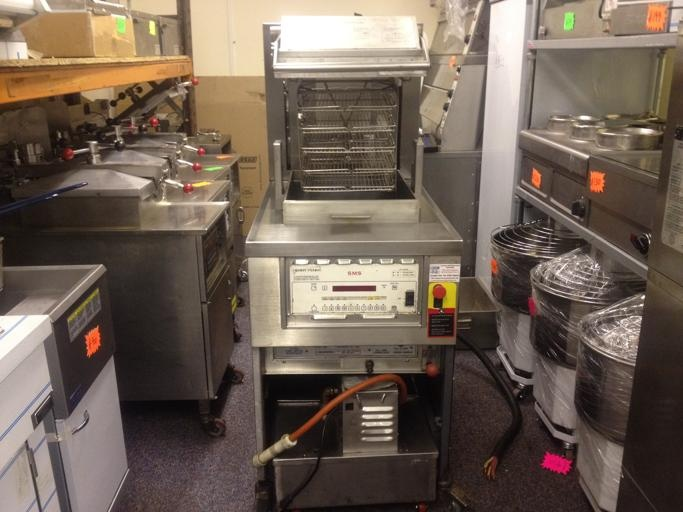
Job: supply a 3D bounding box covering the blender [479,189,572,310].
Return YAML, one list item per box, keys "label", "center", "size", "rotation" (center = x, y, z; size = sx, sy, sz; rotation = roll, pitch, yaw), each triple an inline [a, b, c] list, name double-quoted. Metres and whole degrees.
- label: "blender"
  center: [1.006, -0.058, 2.787]
  size: [0.424, 0.478, 0.458]
  rotation: [2, 24, 10]

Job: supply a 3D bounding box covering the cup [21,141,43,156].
- label: "cup"
  center: [-1.575, -0.548, 2.639]
  size: [0.082, 0.061, 0.045]
  rotation: [-18, 24, -36]
